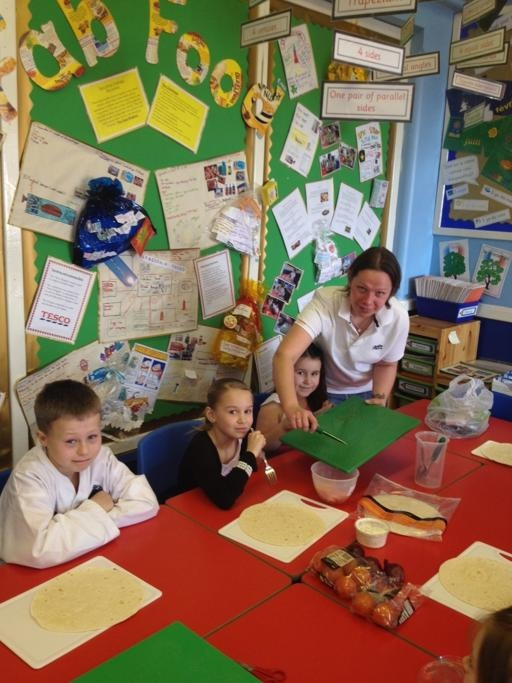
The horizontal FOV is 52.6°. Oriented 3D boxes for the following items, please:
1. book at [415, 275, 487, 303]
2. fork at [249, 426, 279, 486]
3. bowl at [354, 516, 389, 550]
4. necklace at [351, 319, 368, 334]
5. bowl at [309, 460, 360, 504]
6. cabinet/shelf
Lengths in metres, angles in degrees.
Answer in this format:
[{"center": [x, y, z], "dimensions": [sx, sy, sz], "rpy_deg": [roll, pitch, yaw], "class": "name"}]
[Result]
[{"center": [1.252, -0.329, 3.323], "dimensions": [0.315, 0.097, 0.216], "rpy_deg": [10, 15, -11], "class": "book"}, {"center": [0.012, 0.304, 1.461], "dimensions": [0.035, 0.236, 0.027], "rpy_deg": [-25, 8, -35], "class": "fork"}, {"center": [0.251, 0.409, 1.130], "dimensions": [0.064, 0.026, 0.058], "rpy_deg": [1, 14, 0], "class": "bowl"}, {"center": [0.382, -0.058, 1.929], "dimensions": [0.047, 0.055, 0.014], "rpy_deg": [1, 15, -22], "class": "necklace"}, {"center": [0.198, 0.355, 1.348], "dimensions": [0.100, 0.063, 0.101], "rpy_deg": [8, 12, -2], "class": "bowl"}, {"center": [0.978, 0.090, 2.817], "dimensions": [0.357, 0.628, 0.363], "rpy_deg": [25, 35, 31], "class": "cabinet/shelf"}]
